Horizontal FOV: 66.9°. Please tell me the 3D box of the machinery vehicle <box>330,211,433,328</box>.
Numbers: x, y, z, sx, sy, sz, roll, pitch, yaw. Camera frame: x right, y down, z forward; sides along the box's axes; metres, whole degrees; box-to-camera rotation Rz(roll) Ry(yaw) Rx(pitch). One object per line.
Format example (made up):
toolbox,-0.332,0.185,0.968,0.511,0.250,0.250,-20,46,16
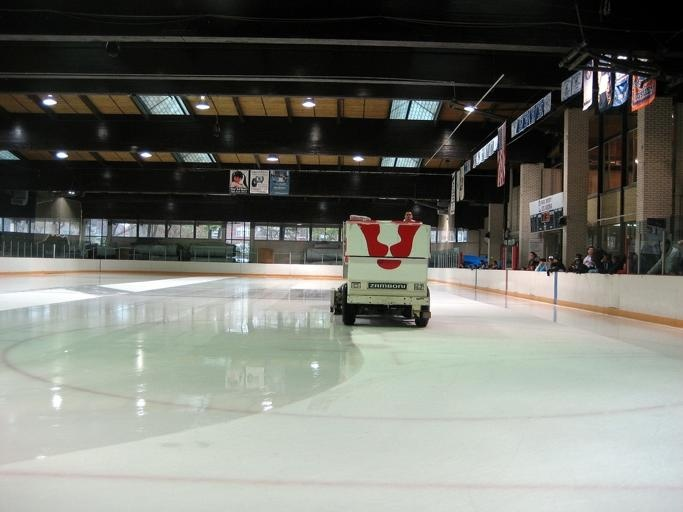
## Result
machinery vehicle,1.053,0.498,11.704,2.540,1.995,3.221,2,-8,3
